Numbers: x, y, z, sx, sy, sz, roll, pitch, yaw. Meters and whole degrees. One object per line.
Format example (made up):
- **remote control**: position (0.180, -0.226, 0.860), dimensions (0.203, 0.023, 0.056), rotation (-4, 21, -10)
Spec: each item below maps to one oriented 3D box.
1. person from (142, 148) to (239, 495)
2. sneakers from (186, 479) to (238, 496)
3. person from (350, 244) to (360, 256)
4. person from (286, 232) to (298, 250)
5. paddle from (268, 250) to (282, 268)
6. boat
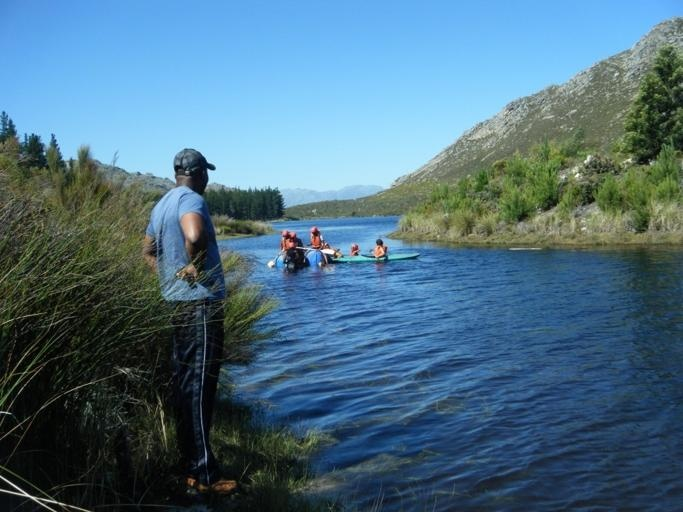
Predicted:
- **person**: position (-1.437, 0.734, 5.757), dimensions (0.658, 2.791, 1.045), rotation (-5, 6, -18)
- **sneakers**: position (-1.202, 2.112, 5.495), dimensions (0.470, 0.155, 0.133), rotation (-4, 6, -2)
- **person**: position (0.702, -0.294, 32.424), dimensions (0.428, 0.938, 0.656), rotation (-6, 7, -13)
- **person**: position (-2.390, -0.730, 28.218), dimensions (0.553, 0.774, 1.671), rotation (-3, 7, -5)
- **paddle**: position (-3.124, 0.211, 28.915), dimensions (0.816, 0.944, 0.645), rotation (-7, 37, -13)
- **boat**: position (-0.171, 0.022, 29.119), dimensions (6.750, 0.879, 3.499), rotation (-4, 7, -6)
